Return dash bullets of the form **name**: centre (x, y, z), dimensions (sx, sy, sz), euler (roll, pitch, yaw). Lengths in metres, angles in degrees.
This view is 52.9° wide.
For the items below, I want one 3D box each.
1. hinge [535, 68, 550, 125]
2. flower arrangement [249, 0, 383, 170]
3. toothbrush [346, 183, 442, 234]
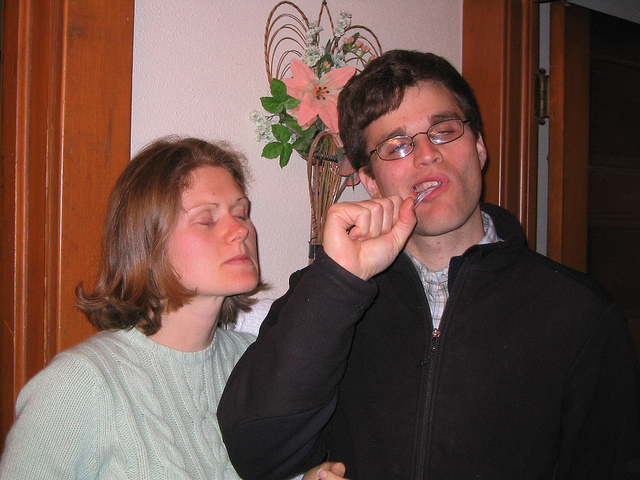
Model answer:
- **hinge**: centre (0.827, -0.549, 2.425), dimensions (0.080, 0.206, 0.027), euler (-7, 11, -16)
- **flower arrangement**: centre (-0.028, -0.564, 2.212), dimensions (0.439, 0.629, 0.352), euler (-2, -4, 4)
- **toothbrush**: centre (0.219, -0.088, 1.812), dimensions (0.202, 0.028, 0.022), euler (-47, 31, -15)
